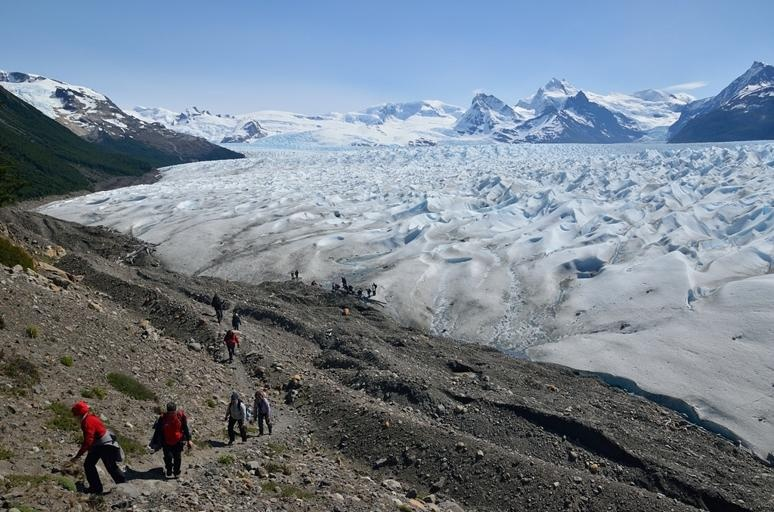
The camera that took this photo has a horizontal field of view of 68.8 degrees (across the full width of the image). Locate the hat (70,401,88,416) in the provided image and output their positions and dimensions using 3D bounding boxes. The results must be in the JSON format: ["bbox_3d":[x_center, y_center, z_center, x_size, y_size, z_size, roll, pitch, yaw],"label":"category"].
[{"bbox_3d":[-8.924,4.377,16.389,0.416,0.240,0.544,-13,8,-39],"label":"hat"}]

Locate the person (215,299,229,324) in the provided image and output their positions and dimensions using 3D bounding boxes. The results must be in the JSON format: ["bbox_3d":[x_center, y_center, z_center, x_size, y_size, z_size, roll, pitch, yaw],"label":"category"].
[{"bbox_3d":[-8.120,2.733,27.687,0.771,1.127,1.023,6,10,-1],"label":"person"}]

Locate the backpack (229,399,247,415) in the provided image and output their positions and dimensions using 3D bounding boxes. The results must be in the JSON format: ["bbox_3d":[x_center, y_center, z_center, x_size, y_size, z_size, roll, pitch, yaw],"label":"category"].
[{"bbox_3d":[-5.102,5.163,19.232,0.568,0.619,0.287,1,21,-5],"label":"backpack"}]

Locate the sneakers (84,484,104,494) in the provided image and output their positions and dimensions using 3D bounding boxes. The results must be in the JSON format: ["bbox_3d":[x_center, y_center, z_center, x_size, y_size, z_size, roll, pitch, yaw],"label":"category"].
[{"bbox_3d":[-8.322,6.629,16.030,0.533,0.181,0.245,2,16,3],"label":"sneakers"}]
